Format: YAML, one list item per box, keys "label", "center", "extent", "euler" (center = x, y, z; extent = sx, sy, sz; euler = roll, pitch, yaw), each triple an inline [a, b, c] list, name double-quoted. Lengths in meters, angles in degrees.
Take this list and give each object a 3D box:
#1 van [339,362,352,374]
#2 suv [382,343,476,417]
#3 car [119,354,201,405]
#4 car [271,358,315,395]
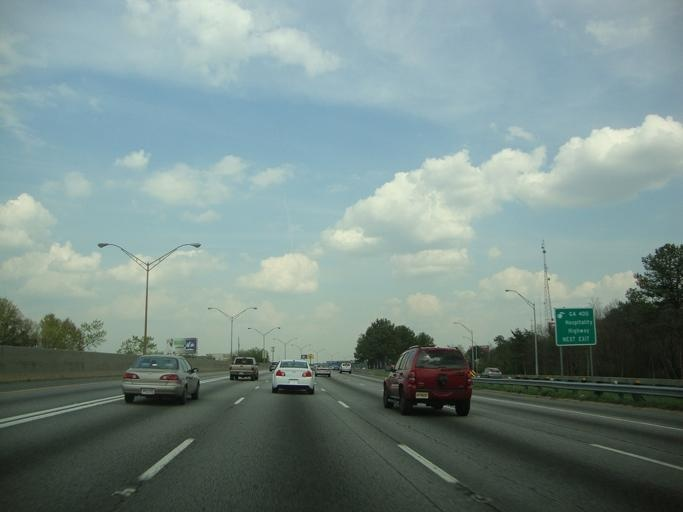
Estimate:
- label: "van"
  center: [0.445, 14.055, 97.960]
  extent: [1.020, 1.117, 1.995]
  euler: [2, -6, -1]
- label: "suv"
  center: [2.823, 4.247, 26.389]
  extent: [2.197, 2.360, 4.529]
  euler: [3, -7, -10]
- label: "car"
  center: [-6.333, 4.371, 27.802]
  extent: [1.977, 1.663, 4.988]
  euler: [2, -6, -1]
- label: "car"
  center: [-2.093, 5.203, 33.779]
  extent: [1.750, 1.489, 1.436]
  euler: [3, -13, -10]
